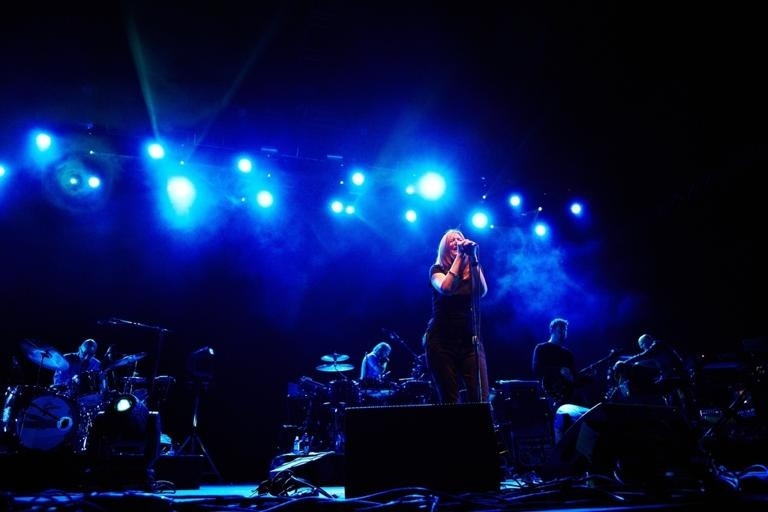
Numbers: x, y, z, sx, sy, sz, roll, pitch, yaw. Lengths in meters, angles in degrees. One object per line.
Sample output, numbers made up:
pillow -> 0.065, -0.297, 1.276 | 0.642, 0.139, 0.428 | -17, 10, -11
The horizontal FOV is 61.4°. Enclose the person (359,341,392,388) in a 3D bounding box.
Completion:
person -> -0.127, 1.909, 11.084 | 0.566, 0.907, 0.415 | 13, 13, 15

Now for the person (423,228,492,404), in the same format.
person -> 0.768, 0.663, 6.900 | 0.652, 1.772, 0.938 | 0, 8, 3

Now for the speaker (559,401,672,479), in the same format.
speaker -> 2.282, 1.856, 6.481 | 0.885, 0.538, 0.814 | 15, -23, -33

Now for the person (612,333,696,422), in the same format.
person -> 3.760, 1.733, 8.959 | 0.966, 1.281, 0.807 | -11, -23, 24

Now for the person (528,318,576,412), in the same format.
person -> 2.595, 1.659, 9.794 | 0.613, 1.202, 0.981 | 2, 8, 15

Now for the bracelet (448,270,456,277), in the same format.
bracelet -> 0.732, 0.183, 6.862 | 0.059, 0.021, 0.050 | 24, -7, 15

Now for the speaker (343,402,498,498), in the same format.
speaker -> 0.339, 1.893, 6.704 | 1.597, 0.813, 0.989 | -1, -7, 3

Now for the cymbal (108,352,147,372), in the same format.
cymbal -> -3.966, 1.625, 9.837 | 0.472, 0.109, 0.450 | -21, -13, 19

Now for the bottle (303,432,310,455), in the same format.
bottle -> -1.214, 2.974, 10.273 | 0.124, 0.276, 0.508 | -1, 8, -7
